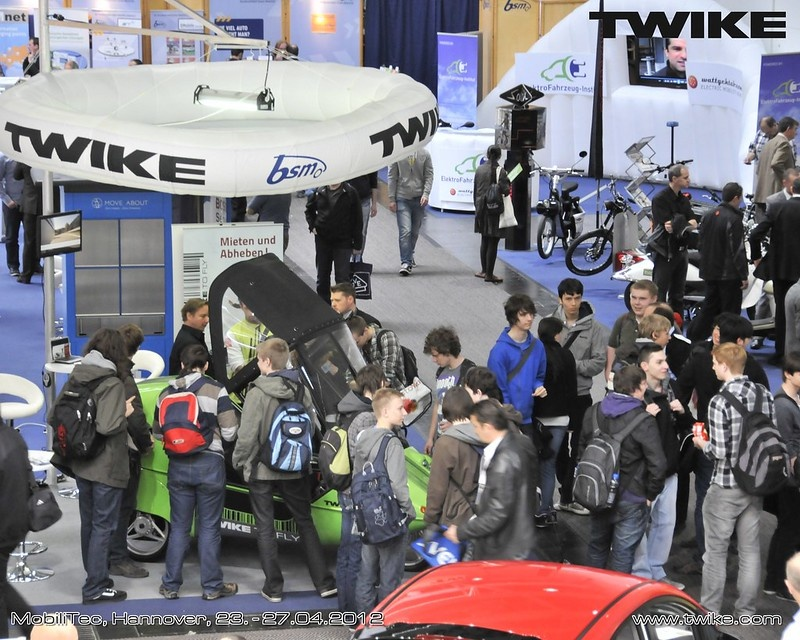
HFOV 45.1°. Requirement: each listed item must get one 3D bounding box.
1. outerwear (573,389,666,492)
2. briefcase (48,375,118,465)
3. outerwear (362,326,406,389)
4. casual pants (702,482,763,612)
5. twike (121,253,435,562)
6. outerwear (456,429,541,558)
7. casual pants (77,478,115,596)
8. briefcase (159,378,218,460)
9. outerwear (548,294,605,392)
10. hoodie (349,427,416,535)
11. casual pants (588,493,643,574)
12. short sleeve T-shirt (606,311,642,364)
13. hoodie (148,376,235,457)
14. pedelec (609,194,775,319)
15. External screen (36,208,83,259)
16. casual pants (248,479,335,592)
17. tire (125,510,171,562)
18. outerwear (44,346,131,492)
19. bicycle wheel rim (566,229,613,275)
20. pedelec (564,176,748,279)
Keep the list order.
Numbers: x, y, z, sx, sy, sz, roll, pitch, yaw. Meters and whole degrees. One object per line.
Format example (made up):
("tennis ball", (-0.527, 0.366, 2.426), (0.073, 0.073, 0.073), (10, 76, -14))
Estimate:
("outerwear", (1.490, 0.819, 6.444), (0.389, 0.856, 0.699), (-6, 6, -38))
("briefcase", (-2.209, 0.669, 6.630), (0.428, 0.670, 0.373), (-7, -12, 39))
("outerwear", (-0.147, 0.308, 7.718), (0.266, 0.559, 0.397), (-14, 5, -26))
("casual pants", (2.279, 1.518, 6.556), (0.354, 1.024, 0.280), (-3, 14, 4))
("twike", (-0.897, 0.639, 7.476), (2.235, 2.197, 1.796), (-1, 12, -3))
("outerwear", (0.589, 1.076, 5.878), (0.489, 0.793, 0.319), (0, 5, 1))
("casual pants", (-2.157, 1.506, 6.757), (0.388, 0.855, 0.213), (4, 6, 35))
("briefcase", (-1.478, 0.665, 6.652), (0.390, 0.543, 0.210), (-1, 5, -13))
("outerwear", (1.465, 0.370, 8.203), (0.499, 1.168, 0.383), (10, 37, 24))
("hoodie", (-0.159, 1.075, 6.195), (0.417, 0.741, 0.405), (-11, 5, -5))
("casual pants", (1.473, 1.533, 6.570), (0.288, 0.228, 0.695), (-9, 37, 28))
("short sleeve T-shirt", (1.912, 0.153, 8.191), (0.270, 0.353, 0.186), (30, -7, -30))
("hoodie", (-1.480, 0.681, 6.749), (0.580, 0.665, 0.379), (-6, -2, 9))
("pedelec", (3.766, -0.807, 12.896), (2.290, 1.792, 1.454), (-1, 10, 9))
("External screen", (-2.894, -0.745, 8.137), (0.048, 0.490, 0.512), (5, 9, 38))
("casual pants", (-0.801, 1.478, 6.895), (0.510, 0.316, 1.284), (-5, 43, -12))
("tire", (-1.906, 1.616, 7.243), (0.373, 0.451, 0.147), (3, 3, 9))
("outerwear", (-2.170, 0.678, 6.699), (0.632, 0.908, 0.442), (14, 15, 33))
("bicycle wheel rim", (3.013, -1.074, 15.237), (0.794, 0.948, 0.181), (2, 46, -9))
("pedelec", (3.656, -1.415, 14.392), (2.232, 1.445, 1.134), (-7, -17, 26))
